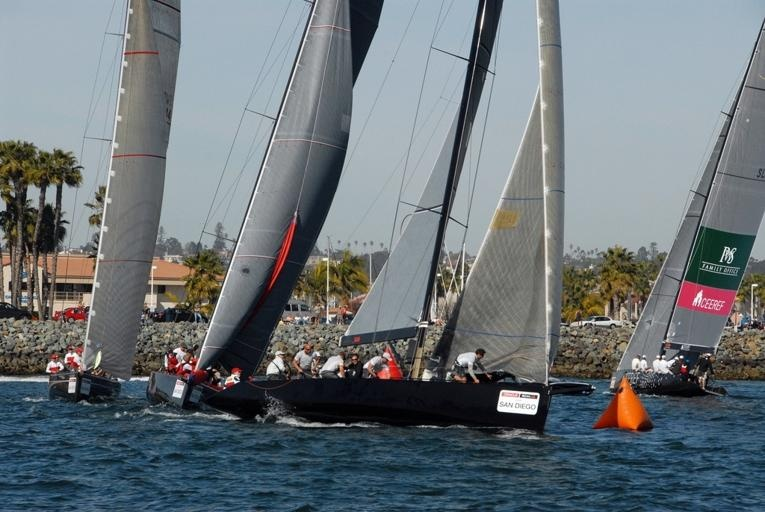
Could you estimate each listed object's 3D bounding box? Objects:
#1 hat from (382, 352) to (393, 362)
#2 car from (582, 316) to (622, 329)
[{"bbox_3d":[0.132,2.715,26.075,0.248,0.135,0.176,45,27,26],"label":"hat"},{"bbox_3d":[14.002,4.234,61.148,2.306,0.800,1.075,2,-2,1],"label":"car"}]
